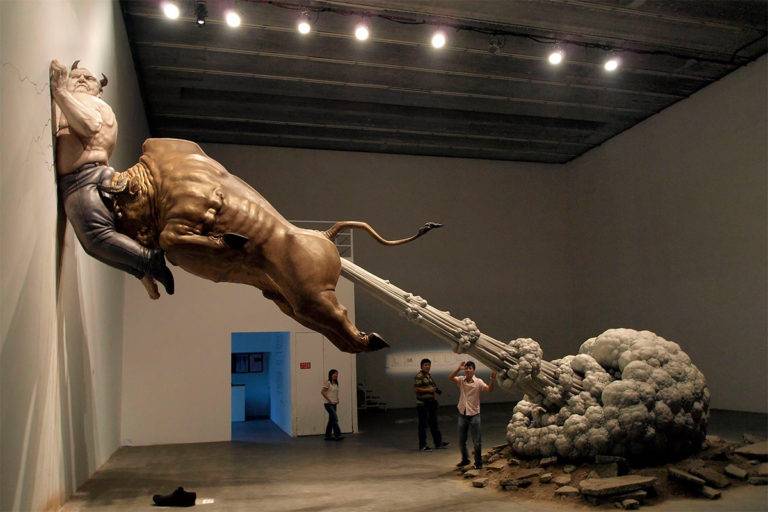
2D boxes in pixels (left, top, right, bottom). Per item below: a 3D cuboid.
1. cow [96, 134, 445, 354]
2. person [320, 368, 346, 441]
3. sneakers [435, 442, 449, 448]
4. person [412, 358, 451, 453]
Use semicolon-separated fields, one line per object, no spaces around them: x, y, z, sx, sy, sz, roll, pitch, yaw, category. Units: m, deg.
-1.776;-0.096;8.634;4.582;2.173;1.447;18;-21;-3;cow
-1.170;3.352;14.774;0.446;1.532;0.748;-2;-5;-5;person
1.218;3.934;13.484;0.272;0.119;0.102;-2;0;6;sneakers
0.976;3.024;13.234;0.614;1.863;1.207;-2;-5;5;person
